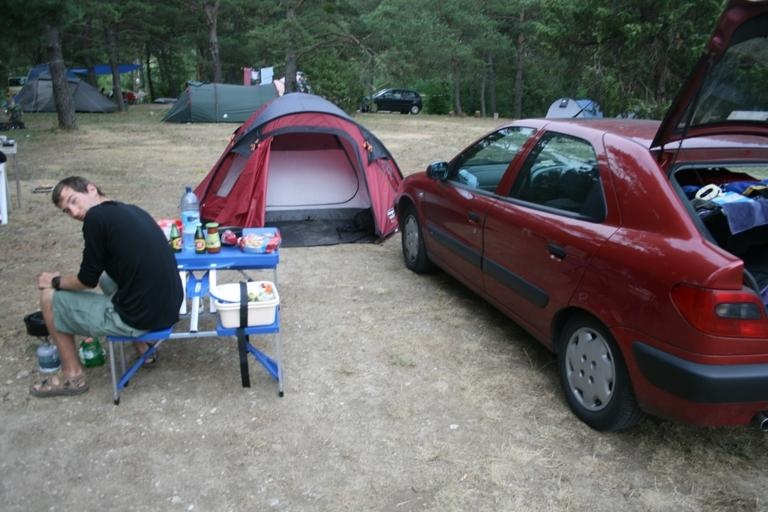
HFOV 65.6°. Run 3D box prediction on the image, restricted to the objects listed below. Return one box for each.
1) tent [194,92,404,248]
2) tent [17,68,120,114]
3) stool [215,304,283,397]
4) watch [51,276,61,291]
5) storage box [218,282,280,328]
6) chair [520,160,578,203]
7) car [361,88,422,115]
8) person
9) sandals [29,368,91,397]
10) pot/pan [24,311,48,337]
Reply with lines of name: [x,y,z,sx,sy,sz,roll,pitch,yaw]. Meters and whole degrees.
tent: [-1.137,-1.200,8.580,2.508,1.281,2.548,-4,23,-23]
tent: [-14.374,-7.177,26.709,3.492,1.685,2.259,1,22,-2]
stool: [-1.162,0.834,5.241,0.637,0.807,0.831,-3,15,-15]
watch: [-2.604,0.220,4.752,0.024,0.092,0.089,14,34,-48]
storage box: [-1.096,0.378,4.901,0.455,0.240,0.342,-2,19,-7]
chair: [1.416,-0.620,5.060,0.269,0.191,0.387,-9,20,-31]
car: [0.592,-8.421,33.321,2.903,1.152,1.592,1,23,-12]
person: [-2.223,0.355,4.828,1.130,1.583,0.367,0,22,-4]
sandals: [-2.671,1.050,4.931,0.401,0.177,0.207,3,3,-6]
pot/pan: [-2.887,0.579,4.963,0.205,0.125,0.253,-1,23,-28]
